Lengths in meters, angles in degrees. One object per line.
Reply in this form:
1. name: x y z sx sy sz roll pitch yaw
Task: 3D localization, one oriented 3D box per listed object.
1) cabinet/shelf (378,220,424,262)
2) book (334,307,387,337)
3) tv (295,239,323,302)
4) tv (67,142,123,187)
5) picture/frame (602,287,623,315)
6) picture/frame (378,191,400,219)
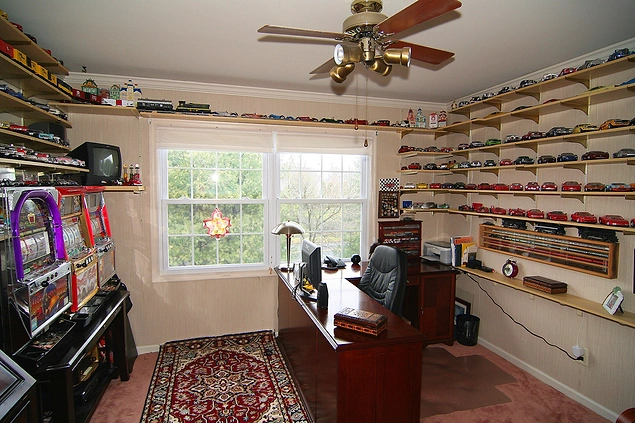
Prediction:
1. cabinet/shelf: 1.015 0.359 5.119 0.575 0.501 0.179 0 0 -16
2. book: 0.359 0.926 3.476 0.423 0.164 0.192 2 6 22
3. tv: -0.093 0.615 4.152 0.257 0.526 0.581 -2 6 -14
4. tv: -2.189 -0.471 4.173 0.499 0.465 0.470 9 9 15
5. picture/frame: 2.773 0.836 3.859 0.156 0.236 0.235 4 7 36
6. picture/frame: 0.930 -0.091 5.444 0.397 0.437 0.047 1 1 -14
